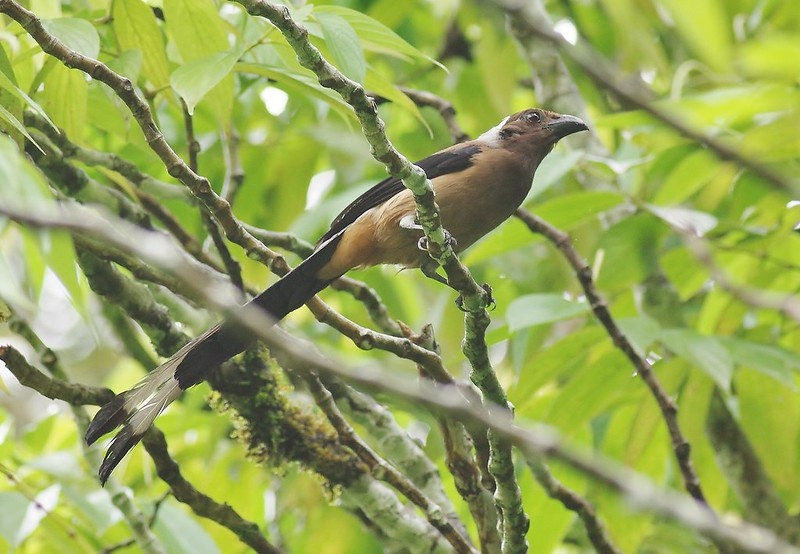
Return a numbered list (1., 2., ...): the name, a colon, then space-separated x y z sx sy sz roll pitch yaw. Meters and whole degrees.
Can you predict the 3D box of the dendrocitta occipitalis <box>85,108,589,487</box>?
1. dendrocitta occipitalis: -0.343 0.135 5.429 3.514 0.977 0.731 -29 -17 -11
